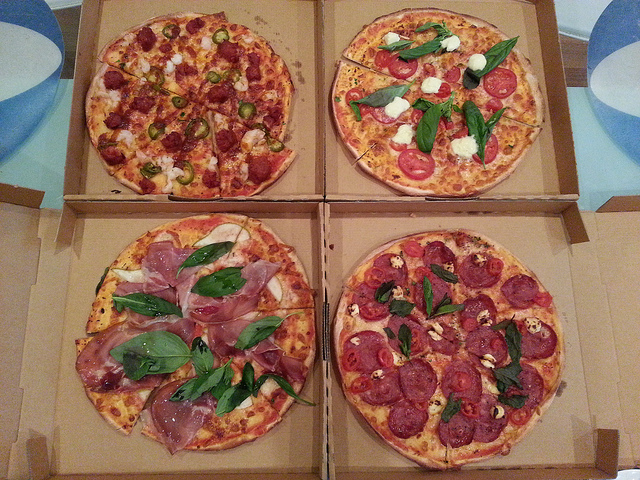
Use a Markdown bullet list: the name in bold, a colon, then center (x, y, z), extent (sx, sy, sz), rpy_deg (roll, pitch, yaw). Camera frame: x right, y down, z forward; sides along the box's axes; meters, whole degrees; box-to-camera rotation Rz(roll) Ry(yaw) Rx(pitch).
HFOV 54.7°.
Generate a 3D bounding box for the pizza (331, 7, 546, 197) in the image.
- **pizza**: center (0.890, -1.047, 4.715), extent (1.614, 0.332, 1.503), rpy_deg (16, 85, 2)

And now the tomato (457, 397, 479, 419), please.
- **tomato**: center (1.032, 1.175, 4.344), extent (0.183, 0.053, 0.118), rpy_deg (32, 85, 3)

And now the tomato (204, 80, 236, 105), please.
- **tomato**: center (-0.763, -1.130, 4.753), extent (0.226, 0.087, 0.162), rpy_deg (-34, 85, -3)

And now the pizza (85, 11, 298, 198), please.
- **pizza**: center (-1.010, -1.066, 4.741), extent (1.583, 0.202, 1.484), rpy_deg (4, 85, 1)

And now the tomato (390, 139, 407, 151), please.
- **tomato**: center (0.589, -0.702, 4.663), extent (0.132, 0.020, 0.065), rpy_deg (13, 85, 1)

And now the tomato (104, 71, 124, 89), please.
- **tomato**: center (-1.592, -1.234, 4.785), extent (0.144, 0.057, 0.125), rpy_deg (-6, 84, 0)

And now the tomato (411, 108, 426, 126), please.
- **tomato**: center (0.728, -0.934, 4.674), extent (0.084, 0.055, 0.117), rpy_deg (23, 85, 3)

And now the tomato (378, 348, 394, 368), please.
- **tomato**: center (0.456, 0.827, 4.355), extent (0.098, 0.033, 0.126), rpy_deg (-1, 85, 0)

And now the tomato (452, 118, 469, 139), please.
- **tomato**: center (1.059, -0.833, 4.661), extent (0.037, 0.135, 0.137), rpy_deg (16, 82, -40)

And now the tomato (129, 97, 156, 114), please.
- **tomato**: center (-1.369, -1.034, 4.772), extent (0.192, 0.058, 0.119), rpy_deg (-3, 84, 0)
